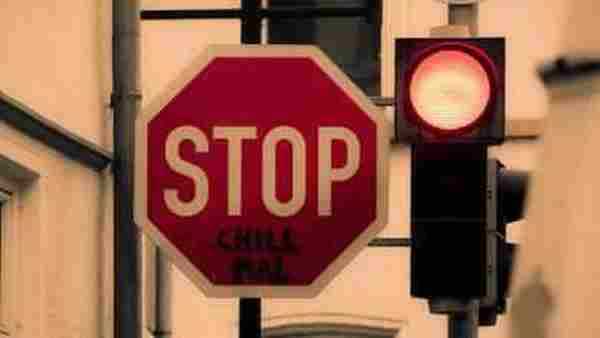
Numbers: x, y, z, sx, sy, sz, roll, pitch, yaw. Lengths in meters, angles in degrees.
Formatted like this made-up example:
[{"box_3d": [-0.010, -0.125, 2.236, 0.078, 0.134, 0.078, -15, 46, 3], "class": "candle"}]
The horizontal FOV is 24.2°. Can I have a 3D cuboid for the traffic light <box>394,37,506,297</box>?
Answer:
[{"box_3d": [1.210, -0.014, 11.001, 0.889, 2.009, 0.656, -3, -17, 2], "class": "traffic light"}]
